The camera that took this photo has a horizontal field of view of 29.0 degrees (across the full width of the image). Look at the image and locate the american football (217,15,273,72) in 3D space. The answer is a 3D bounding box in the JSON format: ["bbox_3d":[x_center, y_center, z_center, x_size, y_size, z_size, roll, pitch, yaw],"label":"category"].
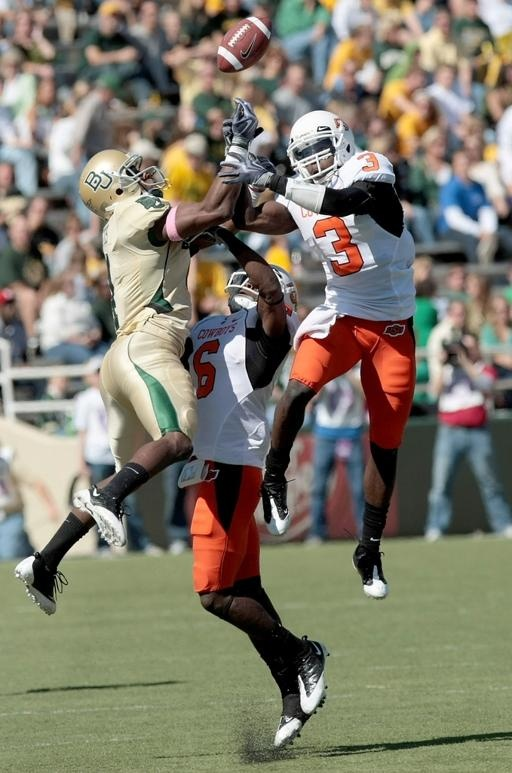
[{"bbox_3d":[-0.040,-1.370,3.968,0.207,0.204,0.292,-2,25,5],"label":"american football"}]

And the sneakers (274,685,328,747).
[{"bbox_3d":[0.135,1.100,3.312,0.106,0.077,0.246,40,35,14],"label":"sneakers"}]

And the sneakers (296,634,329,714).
[{"bbox_3d":[0.233,1.039,3.556,0.174,0.090,0.284,11,51,-7],"label":"sneakers"}]

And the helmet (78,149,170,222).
[{"bbox_3d":[-0.483,-0.817,3.886,0.396,0.232,0.253,-18,4,23],"label":"helmet"}]

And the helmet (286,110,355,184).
[{"bbox_3d":[0.329,-1.065,4.321,0.318,0.223,0.246,-27,14,-35],"label":"helmet"}]

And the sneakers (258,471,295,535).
[{"bbox_3d":[0.081,0.497,4.300,0.118,0.273,0.130,-8,-9,24],"label":"sneakers"}]

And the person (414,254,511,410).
[{"bbox_3d":[2.099,-0.611,10.007,1.748,1.309,0.462,1,-7,6],"label":"person"}]
